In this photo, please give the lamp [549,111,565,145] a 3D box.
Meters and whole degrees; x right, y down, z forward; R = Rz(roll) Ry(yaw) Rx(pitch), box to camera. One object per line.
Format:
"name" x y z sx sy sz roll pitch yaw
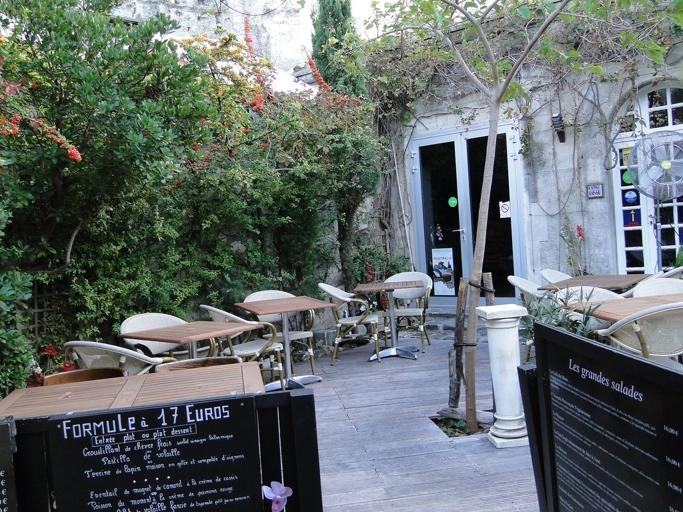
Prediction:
"lamp" 3.055 -1.786 7.715 0.183 0.412 0.096 -2 4 28
